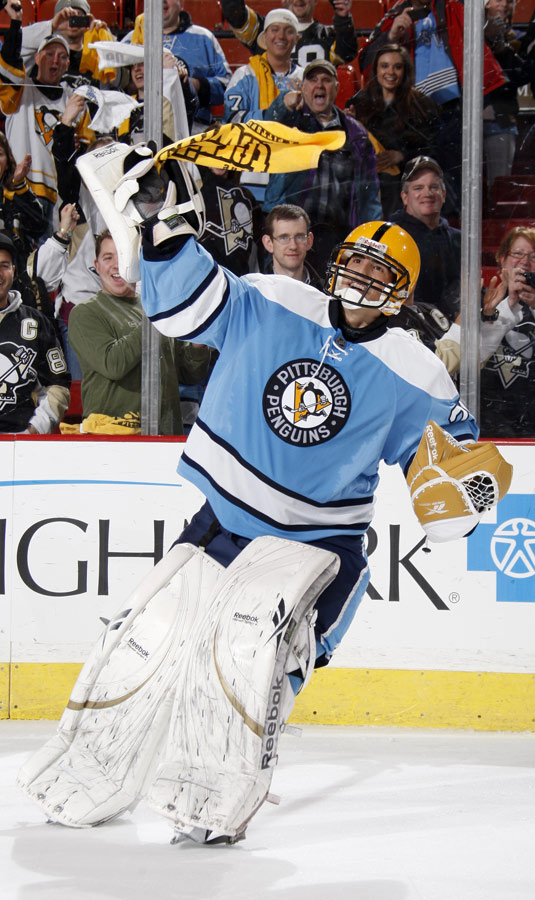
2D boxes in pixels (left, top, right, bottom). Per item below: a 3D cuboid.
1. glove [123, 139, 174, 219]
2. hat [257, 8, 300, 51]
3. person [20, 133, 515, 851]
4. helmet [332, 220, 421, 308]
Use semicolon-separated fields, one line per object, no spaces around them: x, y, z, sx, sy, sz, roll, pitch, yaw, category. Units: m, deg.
-0.272;-0.610;2.199;0.126;0.193;0.071;-6;-22;37;glove
0.040;-1.732;3.939;0.118;0.121;0.164;-8;10;-27;hat
-0.051;0.035;2.293;0.860;1.738;0.457;6;-6;-38;person
0.294;-0.458;2.422;0.183;0.199;0.242;27;16;13;helmet
